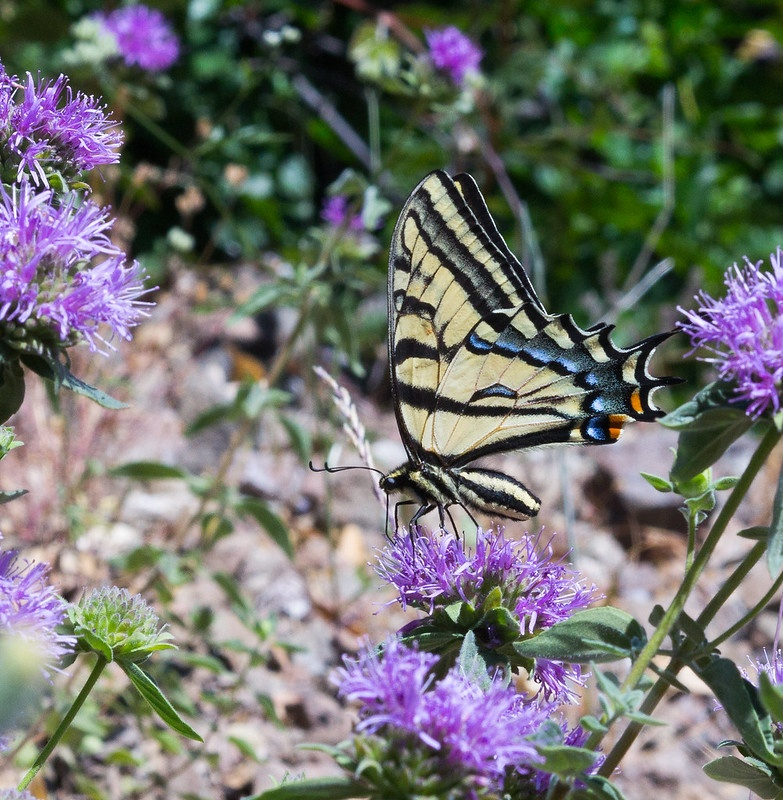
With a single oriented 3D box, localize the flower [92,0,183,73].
[{"bbox_3d":[-0.904,-1.308,4.177,0.354,0.277,0.083,0,-25,-25],"label":"flower"}]
